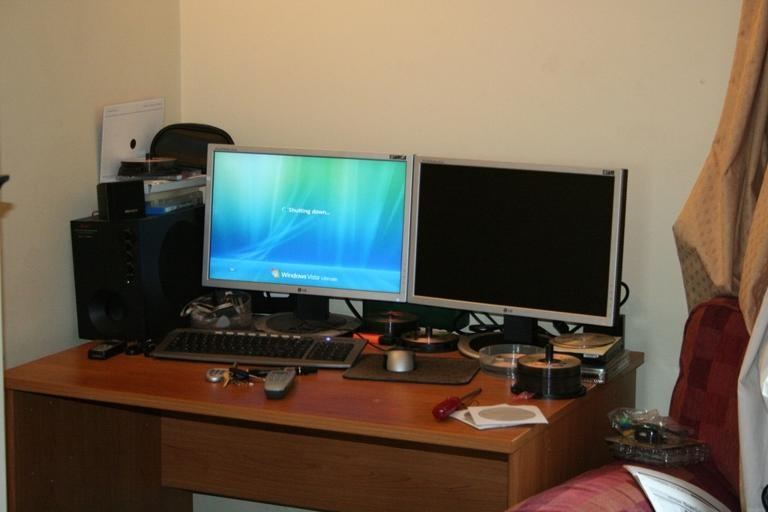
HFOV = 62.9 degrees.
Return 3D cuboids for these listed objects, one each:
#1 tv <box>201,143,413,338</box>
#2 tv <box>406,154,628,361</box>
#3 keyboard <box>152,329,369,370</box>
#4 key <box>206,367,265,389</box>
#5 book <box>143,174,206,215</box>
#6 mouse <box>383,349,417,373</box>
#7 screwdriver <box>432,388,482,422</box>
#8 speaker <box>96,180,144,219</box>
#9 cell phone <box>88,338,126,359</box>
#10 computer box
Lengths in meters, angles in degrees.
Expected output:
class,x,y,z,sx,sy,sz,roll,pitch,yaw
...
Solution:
class,x,y,z,sx,sy,sz,roll,pitch,yaw
tv,-0.264,-0.115,2.110,0.709,0.497,0.093,2,12,8
tv,0.420,0.003,1.985,0.732,0.559,0.184,2,4,20
keyboard,-0.400,0.296,2.012,0.652,0.069,0.240,2,12,7
key,-0.432,0.341,1.826,0.108,0.036,0.070,-2,6,-34
book,-0.741,-0.223,2.265,0.217,0.138,0.255,0,13,-31
mouse,0.047,0.309,1.879,0.075,0.038,0.071,0,-1,2
screwdriver,0.197,0.396,1.682,0.046,0.039,0.188,0,5,34
speaker,-0.841,-0.181,2.016,0.144,0.125,0.136,-3,5,-42
cell phone,-0.884,0.292,1.993,0.056,0.034,0.088,1,2,11
computer box,-0.832,0.043,2.243,0.273,0.376,0.468,5,13,15
